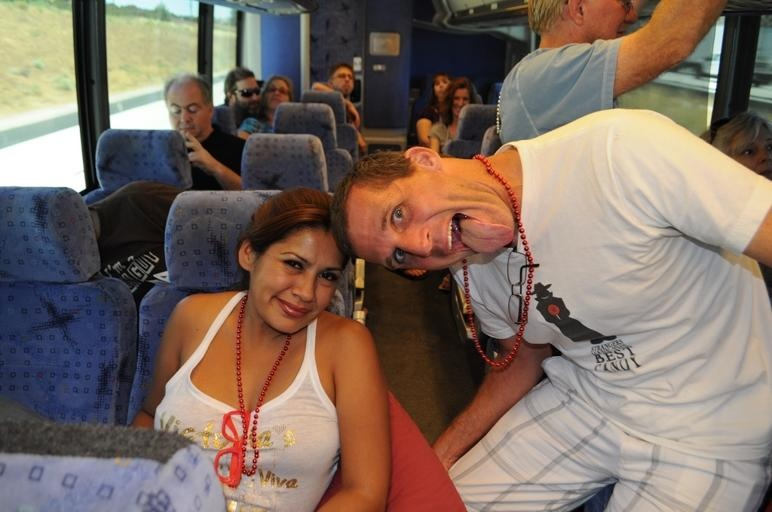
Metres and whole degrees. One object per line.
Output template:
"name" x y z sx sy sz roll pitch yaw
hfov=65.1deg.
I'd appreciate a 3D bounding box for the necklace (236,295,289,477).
"necklace" -0.453 0.457 2.066 0.142 0.024 0.516 2 54 -1
